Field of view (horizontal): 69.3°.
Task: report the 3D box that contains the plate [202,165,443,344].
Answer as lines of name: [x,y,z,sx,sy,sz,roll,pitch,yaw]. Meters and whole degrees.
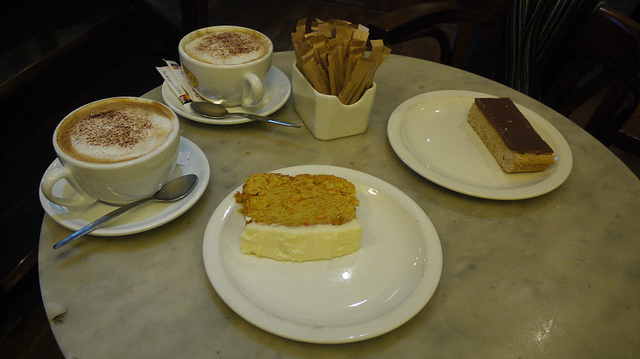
plate: [0.012,0.259,1.565,0.786,0.098,0.567,-13,61,-4]

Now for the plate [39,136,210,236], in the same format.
plate: [-0.696,0.041,1.558,0.390,0.050,0.377,-3,40,4]

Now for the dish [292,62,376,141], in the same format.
dish: [0.046,-0.294,1.885,0.331,0.188,0.309,-4,47,-11]

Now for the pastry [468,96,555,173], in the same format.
pastry: [0.756,-0.196,1.876,0.211,0.103,0.366,-4,46,-12]

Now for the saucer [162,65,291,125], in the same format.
saucer: [-0.395,-0.337,1.878,0.344,0.099,0.275,-30,37,-35]

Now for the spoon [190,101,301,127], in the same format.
spoon: [-0.317,-0.264,1.883,0.448,0.050,0.083,7,79,-8]

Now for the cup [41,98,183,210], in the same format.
cup: [-0.727,-0.023,1.727,0.364,0.226,0.444,27,47,16]

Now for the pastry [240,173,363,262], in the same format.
pastry: [-0.071,0.119,1.608,0.349,0.090,0.313,-4,39,-8]

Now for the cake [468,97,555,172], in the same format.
cake: [0.757,-0.186,1.877,0.191,0.102,0.353,-4,46,-15]

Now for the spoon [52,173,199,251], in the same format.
spoon: [-0.693,0.122,1.619,0.408,0.043,0.083,-33,71,-22]

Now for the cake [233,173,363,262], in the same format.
cake: [-0.037,0.090,1.736,0.443,0.285,0.589,2,29,13]

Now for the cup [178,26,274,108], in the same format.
cup: [-0.382,-0.447,1.977,0.404,0.246,0.485,-18,49,-28]
